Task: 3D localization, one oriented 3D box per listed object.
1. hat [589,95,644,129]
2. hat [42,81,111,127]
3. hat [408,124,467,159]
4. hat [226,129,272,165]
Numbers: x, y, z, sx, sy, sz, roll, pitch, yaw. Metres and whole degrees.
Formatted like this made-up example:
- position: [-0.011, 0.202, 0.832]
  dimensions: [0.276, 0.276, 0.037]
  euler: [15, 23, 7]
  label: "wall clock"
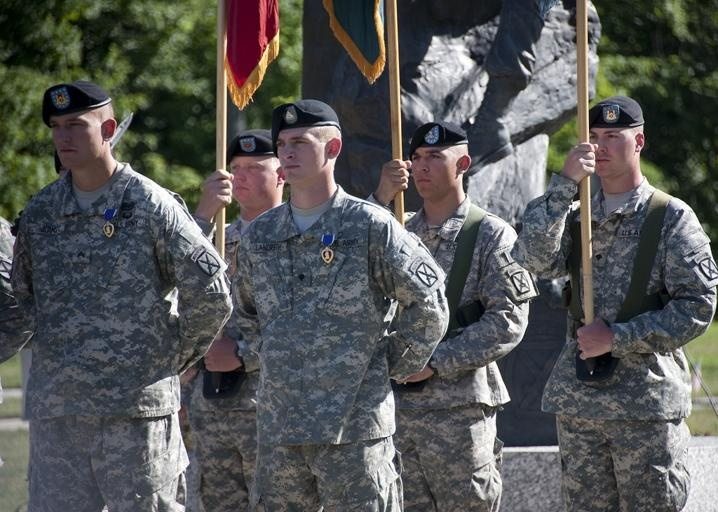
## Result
- position: [2.205, -1.183, 15.667]
  dimensions: [0.288, 0.154, 0.372]
  euler: [2, -2, 38]
  label: "hat"
- position: [-2.240, -1.200, 14.916]
  dimensions: [0.361, 0.178, 0.443]
  euler: [-6, 5, 11]
  label: "hat"
- position: [0.746, -0.948, 16.037]
  dimensions: [0.422, 0.193, 0.496]
  euler: [-14, -14, 43]
  label: "hat"
- position: [-0.927, -0.919, 16.454]
  dimensions: [0.505, 0.191, 0.531]
  euler: [-6, -3, 2]
  label: "hat"
